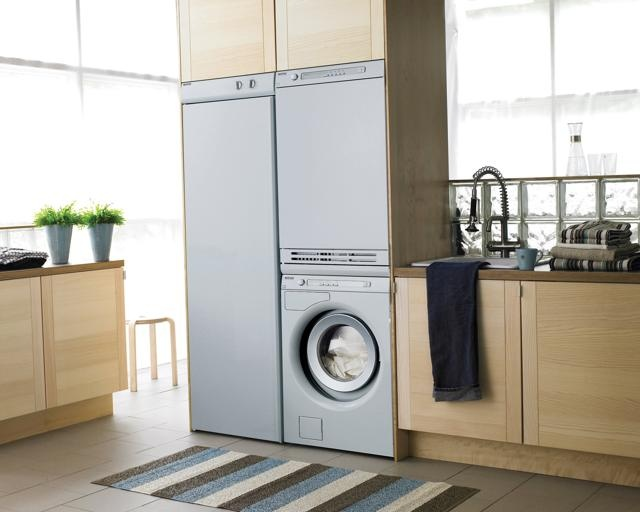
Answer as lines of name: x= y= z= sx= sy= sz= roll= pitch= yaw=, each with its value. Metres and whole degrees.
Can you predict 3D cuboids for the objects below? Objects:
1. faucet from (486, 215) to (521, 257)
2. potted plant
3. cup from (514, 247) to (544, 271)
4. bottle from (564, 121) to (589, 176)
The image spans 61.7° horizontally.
faucet: x=1.021 y=-0.110 z=3.005 sx=0.191 sy=0.164 sz=0.132 roll=-2 pitch=1 yaw=24
potted plant: x=-1.656 y=-0.183 z=3.711 sx=0.734 sy=0.425 sz=0.429 roll=0 pitch=3 yaw=-17
cup: x=1.005 y=0.012 z=2.589 sx=0.103 sy=0.087 sz=0.123 roll=-3 pitch=-5 yaw=38
bottle: x=1.471 y=-0.618 z=3.082 sx=0.114 sy=0.373 sz=0.509 roll=-3 pitch=1 yaw=27
